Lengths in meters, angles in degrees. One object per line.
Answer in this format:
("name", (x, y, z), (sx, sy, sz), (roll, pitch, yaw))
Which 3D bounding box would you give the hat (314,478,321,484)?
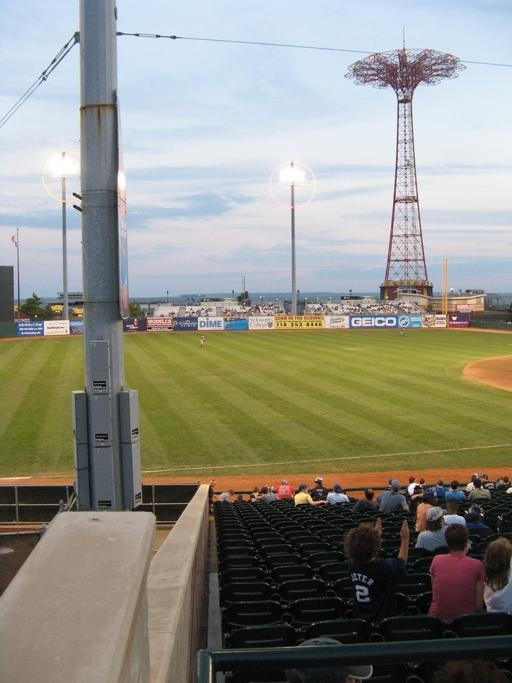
("hat", (1.125, 2.506, 14.641), (0.094, 0.104, 0.112), (-2, -29, 1))

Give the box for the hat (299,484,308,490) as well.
("hat", (0.773, 2.327, 13.100), (0.105, 0.115, 0.123), (-3, -26, -9))

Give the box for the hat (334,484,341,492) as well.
("hat", (1.325, 2.324, 13.021), (0.105, 0.125, 0.121), (11, 46, 2))

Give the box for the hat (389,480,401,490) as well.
("hat", (2.053, 2.131, 11.896), (0.167, 0.127, 0.252), (1, 14, 5))

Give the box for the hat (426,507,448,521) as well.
("hat", (1.557, 1.474, 6.978), (0.103, 0.077, 0.157), (1, 20, 41))
